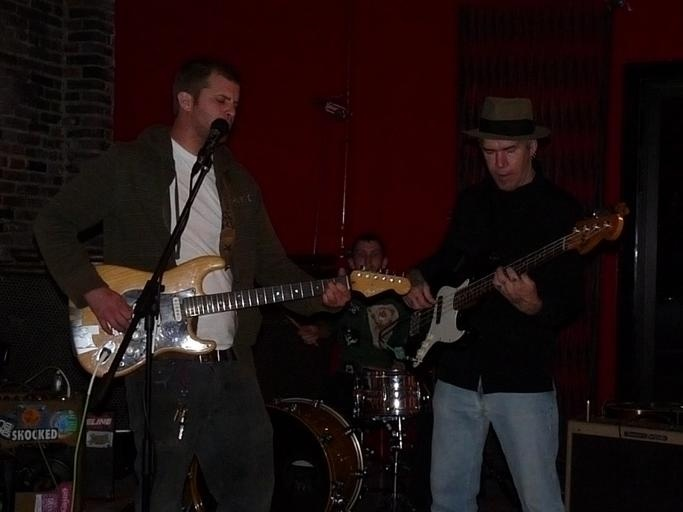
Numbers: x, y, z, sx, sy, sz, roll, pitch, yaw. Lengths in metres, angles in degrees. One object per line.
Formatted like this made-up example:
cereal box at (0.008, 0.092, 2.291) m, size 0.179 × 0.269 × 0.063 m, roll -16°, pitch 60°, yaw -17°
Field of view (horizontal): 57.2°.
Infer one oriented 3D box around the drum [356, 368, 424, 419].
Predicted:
drum at (0.297, 0.905, 4.217) m, size 0.338 × 0.252 × 0.352 m, roll 0°, pitch -6°, yaw 0°

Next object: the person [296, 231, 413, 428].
person at (0.093, 0.566, 4.269) m, size 0.886 × 1.373 × 0.312 m, roll 1°, pitch -11°, yaw 8°
